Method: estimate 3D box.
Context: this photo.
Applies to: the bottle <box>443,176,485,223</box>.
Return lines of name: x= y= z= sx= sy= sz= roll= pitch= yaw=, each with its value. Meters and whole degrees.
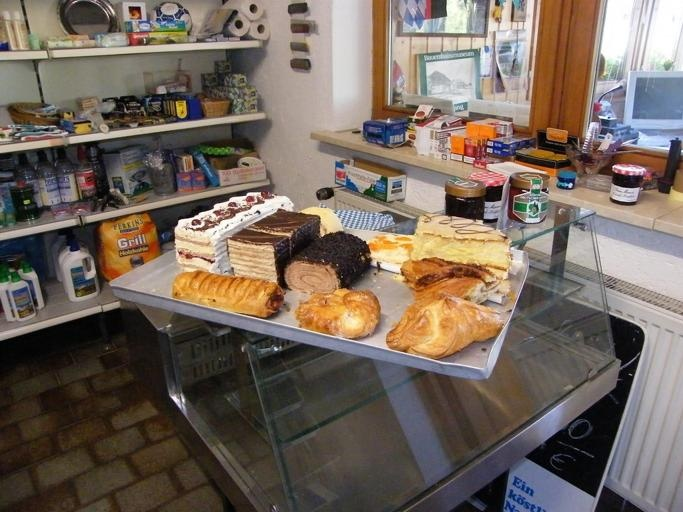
bottle: x=0.377 y=-0.182 z=1.522 sx=0.144 sy=0.133 sz=0.133 roll=-10 pitch=23 yaw=-18

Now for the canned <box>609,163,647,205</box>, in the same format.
canned: x=1.103 y=-0.271 z=1.873 sx=0.188 sy=0.128 sz=0.179 roll=9 pitch=11 yaw=29

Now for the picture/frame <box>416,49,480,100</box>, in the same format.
picture/frame: x=0.620 y=-1.043 z=2.683 sx=0.370 sy=0.241 sz=0.050 roll=16 pitch=32 yaw=40

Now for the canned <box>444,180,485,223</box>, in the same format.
canned: x=0.376 y=-0.172 z=1.522 sx=0.144 sy=0.131 sz=0.130 roll=-5 pitch=21 yaw=-6

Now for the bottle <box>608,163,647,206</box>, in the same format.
bottle: x=1.143 y=-0.280 z=1.858 sx=0.144 sy=0.138 sz=0.138 roll=9 pitch=26 yaw=30

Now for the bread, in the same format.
bread: x=-0.071 y=0.056 z=1.140 sx=0.737 sy=0.096 sz=0.368 roll=10 pitch=36 yaw=16

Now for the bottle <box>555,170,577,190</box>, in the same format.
bottle: x=0.940 y=-0.323 z=1.992 sx=0.088 sy=0.068 sz=0.085 roll=-2 pitch=23 yaw=1

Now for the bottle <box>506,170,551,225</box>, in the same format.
bottle: x=0.616 y=-0.197 z=1.567 sx=0.147 sy=0.140 sz=0.134 roll=-9 pitch=25 yaw=-14
